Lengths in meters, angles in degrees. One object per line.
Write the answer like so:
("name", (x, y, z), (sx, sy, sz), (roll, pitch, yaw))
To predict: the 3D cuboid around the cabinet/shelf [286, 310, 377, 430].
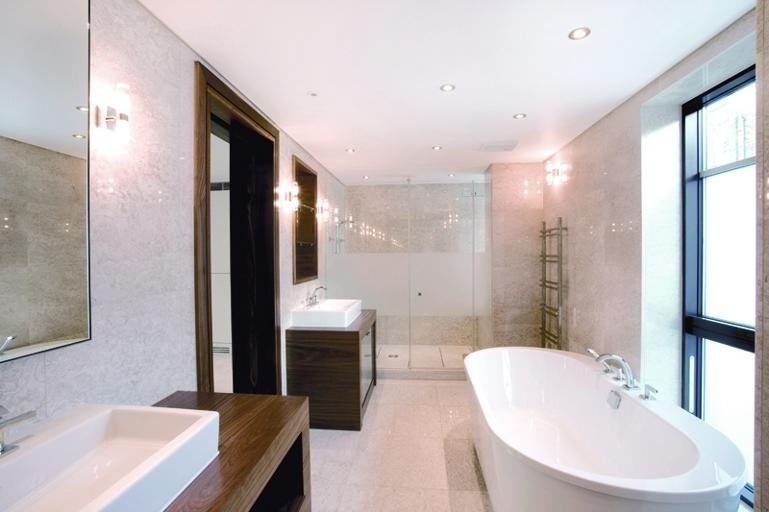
("cabinet/shelf", (-0.486, 1.063, 5.034), (0.693, 0.918, 0.895), (1, 12, 10))
